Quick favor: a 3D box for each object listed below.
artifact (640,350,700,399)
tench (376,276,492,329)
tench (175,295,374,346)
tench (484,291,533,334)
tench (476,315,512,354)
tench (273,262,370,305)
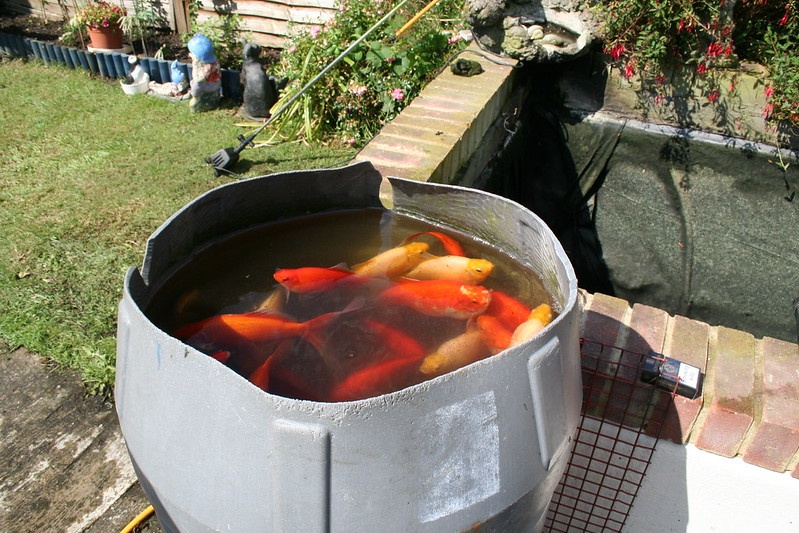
[{"bbox_3d":[1.496,0.605,3.618,0.207,0.120,0.118,20,40,4],"label":"artifact"},{"bbox_3d":[0.153,0.130,3.376,0.679,0.300,0.190,0,39,27],"label":"tench"},{"bbox_3d":[-0.643,0.307,3.186,0.942,0.287,0.196,-2,31,5],"label":"tench"},{"bbox_3d":[0.580,0.221,3.402,0.183,0.137,0.404,8,-5,-8],"label":"tench"},{"bbox_3d":[0.477,0.324,3.244,0.175,0.111,0.289,2,16,-14],"label":"tench"},{"bbox_3d":[-0.413,0.070,3.434,0.572,0.259,0.176,7,-8,-10],"label":"tench"}]
